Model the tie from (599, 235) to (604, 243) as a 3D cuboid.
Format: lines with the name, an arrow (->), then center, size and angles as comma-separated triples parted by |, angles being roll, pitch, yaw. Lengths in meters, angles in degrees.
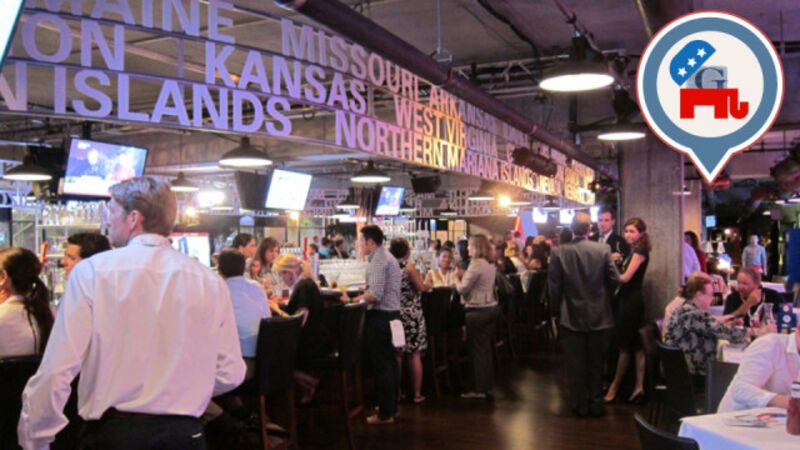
tie -> 2.781, 0.203, 8.711 | 0.027, 0.100, 0.110 | 6, -8, 22

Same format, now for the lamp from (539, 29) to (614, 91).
lamp -> 1.865, -1.808, 6.671 | 0.455, 0.404, 0.418 | -8, 20, -14

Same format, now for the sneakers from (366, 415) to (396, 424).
sneakers -> -0.234, 2.300, 7.492 | 0.336, 0.125, 0.116 | 6, -9, 8

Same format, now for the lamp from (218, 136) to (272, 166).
lamp -> -2.197, -1.078, 8.902 | 0.649, 0.282, 0.640 | 4, 9, 8

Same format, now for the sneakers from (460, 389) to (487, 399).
sneakers -> 0.953, 2.252, 8.290 | 0.353, 0.122, 0.127 | 5, -17, 7

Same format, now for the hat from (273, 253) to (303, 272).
hat -> -1.354, 0.464, 7.458 | 0.290, 0.208, 0.233 | -3, 27, -15

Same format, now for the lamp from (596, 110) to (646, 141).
lamp -> 2.925, -1.283, 8.217 | 0.641, 0.327, 0.431 | -2, 9, -37

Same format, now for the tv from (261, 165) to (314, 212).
tv -> -2.261, -0.709, 13.139 | 0.134, 0.961, 1.418 | 2, 5, 36

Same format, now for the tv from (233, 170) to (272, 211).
tv -> -3.169, -0.760, 13.537 | 0.208, 1.061, 1.561 | 1, -2, 23

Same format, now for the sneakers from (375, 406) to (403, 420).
sneakers -> -0.178, 2.258, 7.525 | 0.399, 0.163, 0.139 | 0, -5, 7

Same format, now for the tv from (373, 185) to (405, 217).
tv -> -0.302, -0.564, 15.201 | 0.134, 0.732, 1.184 | 16, 8, 27

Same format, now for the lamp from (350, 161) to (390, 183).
lamp -> -0.548, -0.911, 11.651 | 0.556, 0.244, 0.544 | 0, -6, 3

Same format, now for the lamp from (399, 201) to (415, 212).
lamp -> 0.171, -0.564, 17.753 | 0.378, 0.312, 0.369 | -1, -5, 2
